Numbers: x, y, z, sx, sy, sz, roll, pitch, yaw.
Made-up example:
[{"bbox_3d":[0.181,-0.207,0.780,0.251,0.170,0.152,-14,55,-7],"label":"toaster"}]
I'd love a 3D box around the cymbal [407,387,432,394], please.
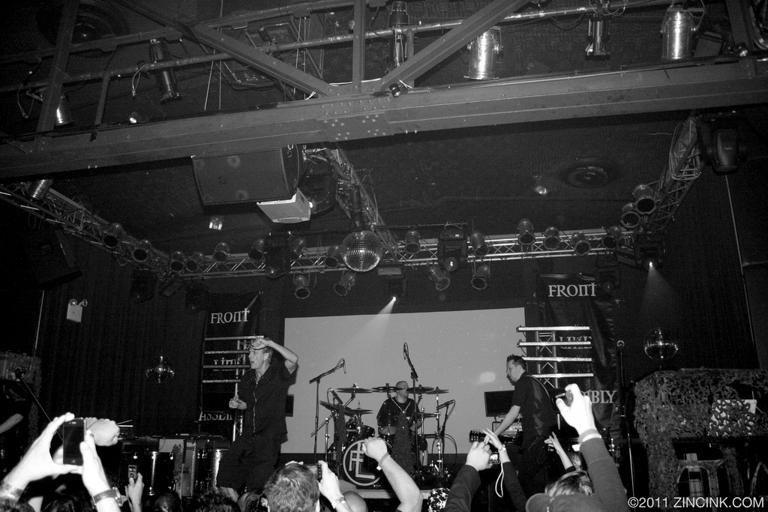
[{"bbox_3d":[0.586,2.139,10.620,0.273,0.063,0.268,5,-7,-31],"label":"cymbal"}]

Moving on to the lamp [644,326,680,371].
[{"bbox_3d":[4.501,1.466,10.919,0.525,0.626,0.536,1,-6,33],"label":"lamp"}]

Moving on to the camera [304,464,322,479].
[{"bbox_3d":[-0.539,1.648,5.084,0.132,0.139,0.178,-4,-19,6],"label":"camera"}]

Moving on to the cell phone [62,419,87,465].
[{"bbox_3d":[-2.142,1.279,4.594,0.159,0.309,0.106,3,-18,-12],"label":"cell phone"}]

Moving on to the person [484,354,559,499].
[{"bbox_3d":[1.629,2.040,8.185,0.762,1.990,0.754,1,-9,-2],"label":"person"}]

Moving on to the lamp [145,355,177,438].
[{"bbox_3d":[-4.169,2.616,12.356,0.445,1.532,0.390,3,-5,-16],"label":"lamp"}]

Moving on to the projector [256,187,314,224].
[{"bbox_3d":[-1.110,-0.527,7.576,0.485,0.418,0.624,2,-1,-17],"label":"projector"}]

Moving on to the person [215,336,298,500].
[{"bbox_3d":[-1.472,1.877,7.835,0.820,1.824,0.687,1,-3,5],"label":"person"}]
